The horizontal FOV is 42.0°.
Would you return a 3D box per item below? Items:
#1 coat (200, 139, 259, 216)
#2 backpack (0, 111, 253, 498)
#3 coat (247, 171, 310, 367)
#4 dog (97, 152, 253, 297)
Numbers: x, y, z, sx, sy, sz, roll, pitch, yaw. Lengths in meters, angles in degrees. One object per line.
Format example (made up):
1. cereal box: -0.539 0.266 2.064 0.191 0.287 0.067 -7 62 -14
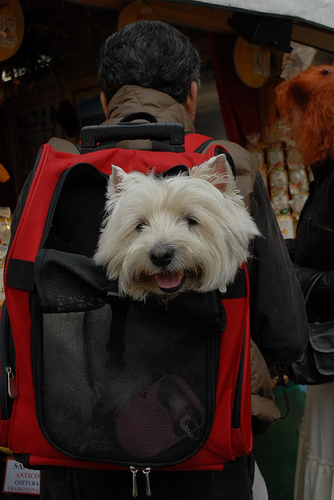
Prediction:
1. coat: 0.154 -0.209 1.202 0.153 0.198 0.110 -1 -13 9
2. backpack: -0.099 0.155 1.085 0.625 0.753 0.494 2 27 11
3. coat: 0.322 0.092 1.252 0.177 0.569 0.291 2 28 12
4. dog: 0.013 -0.049 0.983 0.323 0.172 0.281 -2 61 2
